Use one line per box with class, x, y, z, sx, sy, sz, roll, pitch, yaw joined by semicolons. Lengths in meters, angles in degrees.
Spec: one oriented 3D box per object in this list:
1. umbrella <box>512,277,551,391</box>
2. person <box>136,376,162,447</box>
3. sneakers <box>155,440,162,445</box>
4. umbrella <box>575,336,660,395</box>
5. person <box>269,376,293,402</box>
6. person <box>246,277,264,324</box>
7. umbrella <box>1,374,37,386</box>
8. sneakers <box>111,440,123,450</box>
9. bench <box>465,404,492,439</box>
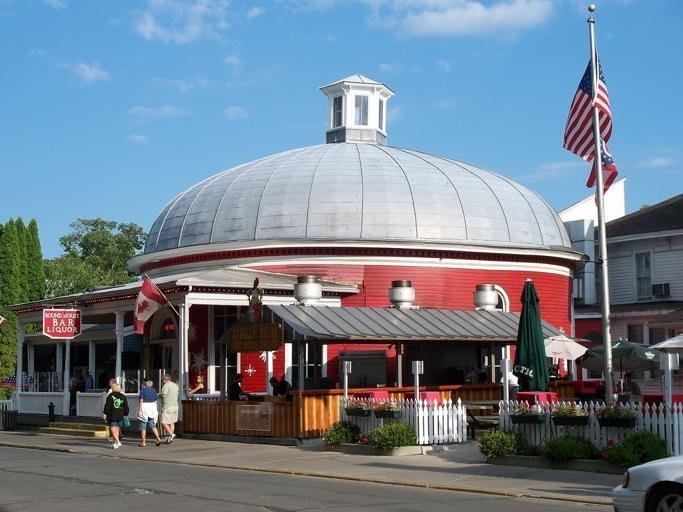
umbrella;5.448;2.185;29.661;1.122;2.864;1.224;-2;1;-20
person;-5.846;4.750;31.850;0.649;2.069;1.130;1;-14;-10
sneakers;-5.506;5.603;31.442;0.183;0.152;0.173;1;-13;-3
umbrella;8.936;3.425;33.437;2.507;1.718;2.424;5;-12;-15
person;-1.855;4.109;32.055;0.621;0.773;0.824;-6;-5;32
person;-2.680;1.366;32.476;0.425;1.533;1.069;0;-13;-7
umbrella;-14.365;5.549;46.591;0.412;0.465;2.997;-30;16;-37
sneakers;-6.716;5.653;31.325;0.213;0.247;0.607;2;-12;-22
bench;4.249;4.934;31.702;0.954;1.008;1.307;3;-8;-18
